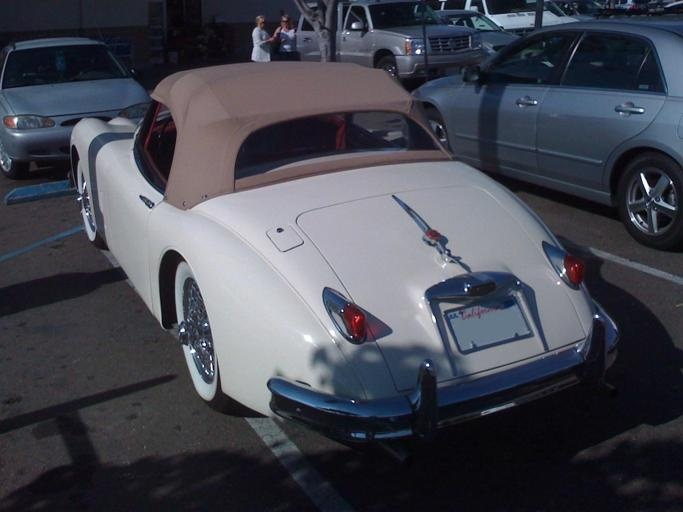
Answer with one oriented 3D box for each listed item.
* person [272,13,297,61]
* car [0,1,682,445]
[{"bbox_3d":[-1.585,-6.041,14.093,0.617,1.753,0.452,-4,9,-8],"label":"person"},{"bbox_3d":[-0.132,-0.195,3.230,2.008,1.943,3.445,-26,33,-37],"label":"car"}]
